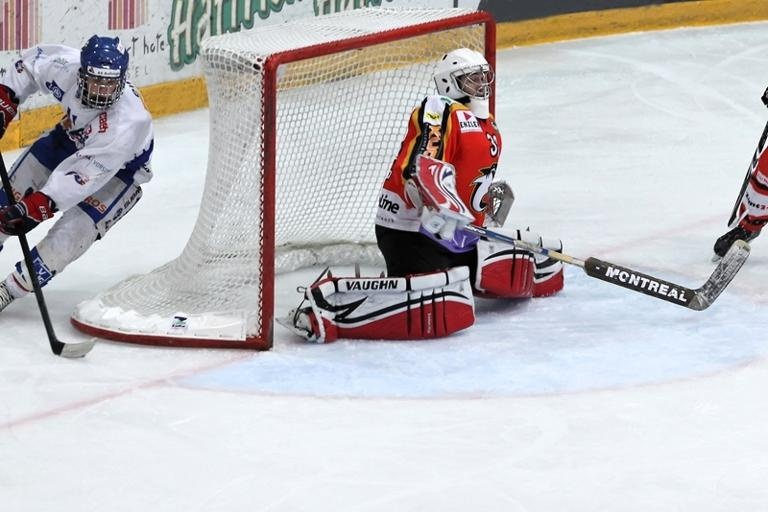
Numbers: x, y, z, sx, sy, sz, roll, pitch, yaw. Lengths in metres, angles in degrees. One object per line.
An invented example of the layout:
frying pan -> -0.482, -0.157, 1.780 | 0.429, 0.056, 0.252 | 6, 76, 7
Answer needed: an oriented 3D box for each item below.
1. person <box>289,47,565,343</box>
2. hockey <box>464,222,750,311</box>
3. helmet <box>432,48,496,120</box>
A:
person -> 0.213, -0.307, 4.352 | 1.389, 1.291, 0.628 | -19, 28, -38
hockey -> 1.170, 0.067, 4.787 | 1.241, 0.126, 0.307 | 11, 58, 9
helmet -> 0.385, -0.880, 4.467 | 0.352, 0.321, 0.291 | 21, 35, 28
